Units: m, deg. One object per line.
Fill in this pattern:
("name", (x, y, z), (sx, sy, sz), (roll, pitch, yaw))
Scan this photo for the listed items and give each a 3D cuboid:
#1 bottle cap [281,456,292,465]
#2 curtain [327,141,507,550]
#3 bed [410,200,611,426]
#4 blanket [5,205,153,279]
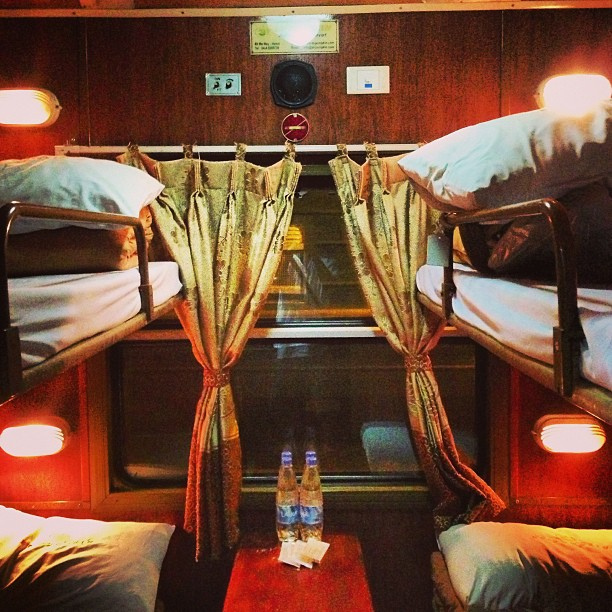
("bottle cap", (-0.088, 0.711, 2.796), (0.044, 0.040, 0.064), (1, -16, -6))
("curtain", (0.526, 0.168, 2.909), (0.675, 1.887, 0.283), (-3, 1, -1))
("bed", (0.656, 0.019, 2.006), (0.450, 0.361, 1.061), (-6, 17, -12))
("blanket", (-0.720, -0.214, 2.047), (0.395, 0.203, 0.367), (2, 7, 0))
